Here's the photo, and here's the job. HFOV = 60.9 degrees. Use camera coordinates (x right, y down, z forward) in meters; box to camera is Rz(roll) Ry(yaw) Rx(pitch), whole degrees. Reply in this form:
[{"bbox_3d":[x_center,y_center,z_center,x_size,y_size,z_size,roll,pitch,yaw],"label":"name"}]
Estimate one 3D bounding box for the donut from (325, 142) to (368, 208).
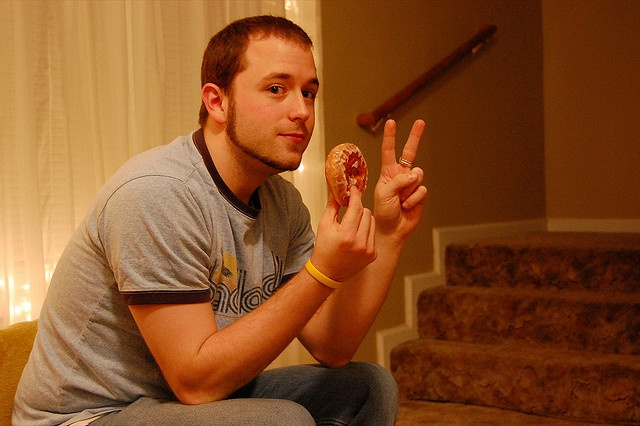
[{"bbox_3d":[0.111,-0.152,2.169,0.077,0.232,0.220,2,35,24],"label":"donut"}]
